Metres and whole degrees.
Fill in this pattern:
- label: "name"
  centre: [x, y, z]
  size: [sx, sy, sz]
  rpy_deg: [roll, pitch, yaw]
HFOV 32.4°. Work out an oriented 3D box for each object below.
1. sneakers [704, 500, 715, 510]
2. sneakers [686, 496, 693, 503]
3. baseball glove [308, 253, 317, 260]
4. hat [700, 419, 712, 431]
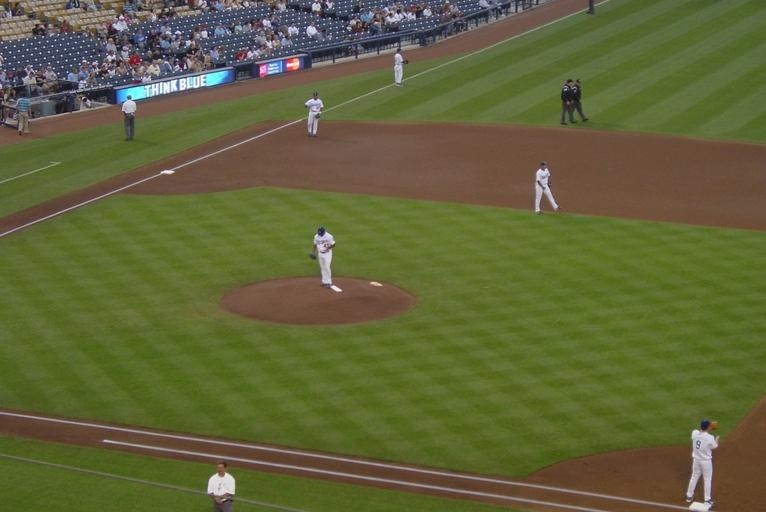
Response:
- label: "sneakers"
  centre: [10.322, 7.844, 41.455]
  size: [0.497, 0.256, 0.146]
  rpy_deg: [2, 16, 18]
- label: "sneakers"
  centre: [9.714, 7.709, 41.625]
  size: [0.124, 0.195, 0.115]
  rpy_deg: [23, 54, 26]
- label: "baseball glove"
  centre: [-2.622, 0.002, 49.933]
  size: [0.269, 0.115, 0.312]
  rpy_deg: [21, -10, 6]
- label: "hat"
  centre: [10.247, 5.354, 41.647]
  size: [0.429, 0.402, 0.471]
  rpy_deg: [2, 18, 16]
